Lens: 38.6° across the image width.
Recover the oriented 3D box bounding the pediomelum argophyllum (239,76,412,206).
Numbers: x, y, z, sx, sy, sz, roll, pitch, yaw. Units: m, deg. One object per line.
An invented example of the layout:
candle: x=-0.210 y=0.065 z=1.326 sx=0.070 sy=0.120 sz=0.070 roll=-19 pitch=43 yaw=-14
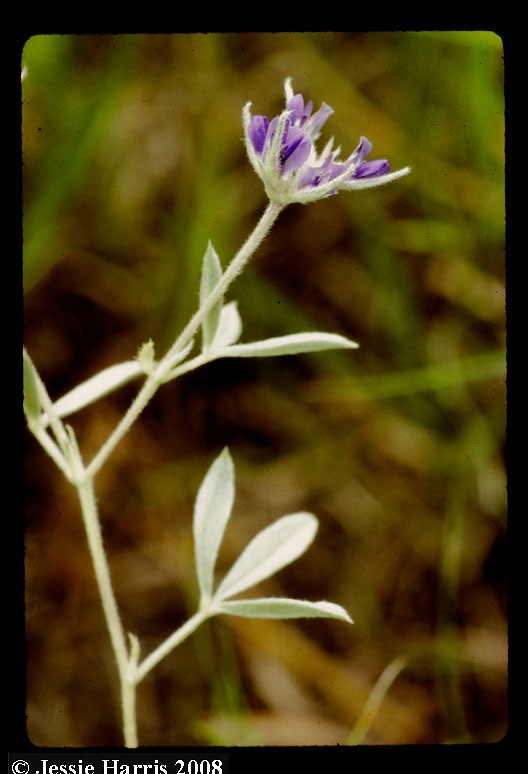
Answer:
pediomelum argophyllum: x=0.050 y=-0.218 z=0.663 sx=0.117 sy=0.105 sz=0.116 roll=-19 pitch=24 yaw=-25
